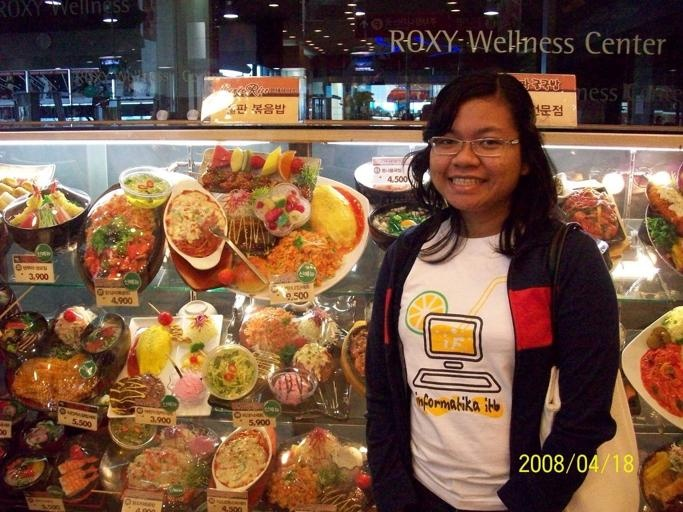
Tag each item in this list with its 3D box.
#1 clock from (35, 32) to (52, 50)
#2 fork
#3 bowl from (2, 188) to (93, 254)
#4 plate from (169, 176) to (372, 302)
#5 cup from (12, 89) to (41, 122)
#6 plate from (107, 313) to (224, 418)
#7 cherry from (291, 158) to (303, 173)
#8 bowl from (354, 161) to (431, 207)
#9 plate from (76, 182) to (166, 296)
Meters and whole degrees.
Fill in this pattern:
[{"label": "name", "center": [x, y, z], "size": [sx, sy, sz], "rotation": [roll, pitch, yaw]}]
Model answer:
[{"label": "clock", "center": [-1.224, -0.886, 2.032], "size": [0.075, 0.065, 0.012], "rotation": [4, 5, 18]}, {"label": "fork", "center": [-0.419, -0.008, 2.018], "size": [0.049, 0.311, 0.017], "rotation": [-40, 3, -17]}, {"label": "bowl", "center": [-1.307, -0.114, 2.227], "size": [0.306, 0.174, 0.310], "rotation": [4, 41, -4]}, {"label": "plate", "center": [-0.232, -0.093, 2.054], "size": [0.669, 0.550, 0.139], "rotation": [-3, -28, 5]}, {"label": "cup", "center": [-1.323, -0.647, 2.087], "size": [0.108, 0.103, 0.046], "rotation": [17, 17, 30]}, {"label": "plate", "center": [-0.724, 0.465, 2.029], "size": [0.434, 0.469, 0.104], "rotation": [0, -26, 1]}, {"label": "cherry", "center": [-0.189, -0.383, 2.075], "size": [0.054, 0.064, 0.054], "rotation": [-14, 14, -25]}, {"label": "bowl", "center": [0.169, -0.300, 2.180], "size": [0.229, 0.068, 0.235], "rotation": [1, 32, 0]}, {"label": "plate", "center": [-0.905, -0.059, 2.028], "size": [0.293, 0.419, 0.136], "rotation": [2, -9, 4]}]
